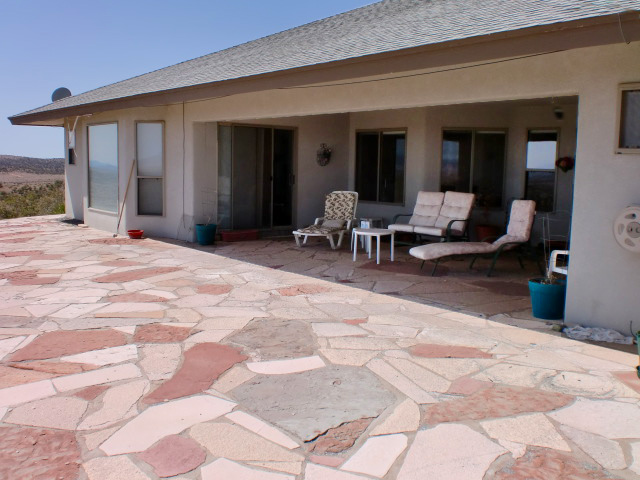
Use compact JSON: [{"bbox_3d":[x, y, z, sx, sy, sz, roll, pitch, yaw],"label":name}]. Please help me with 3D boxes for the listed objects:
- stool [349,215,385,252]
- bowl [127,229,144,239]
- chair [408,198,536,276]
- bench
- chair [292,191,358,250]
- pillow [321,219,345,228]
[{"bbox_3d":[1.098,-0.185,9.269,1.020,0.845,0.901,2,5,12],"label":"stool"},{"bbox_3d":[-4.682,-0.175,11.006,0.383,0.216,0.422,-2,10,-20],"label":"bowl"},{"bbox_3d":[2.799,-0.071,7.920,2.241,0.972,0.798,-7,10,-6],"label":"chair"},{"bbox_3d":[2.459,-0.466,9.670,1.194,1.043,1.535,-17,18,-36],"label":"bench"},{"bbox_3d":[0.273,-0.509,10.173,1.015,1.272,1.286,4,10,15],"label":"chair"},{"bbox_3d":[0.300,-0.417,10.147,0.525,0.173,0.512,3,9,15],"label":"pillow"}]
